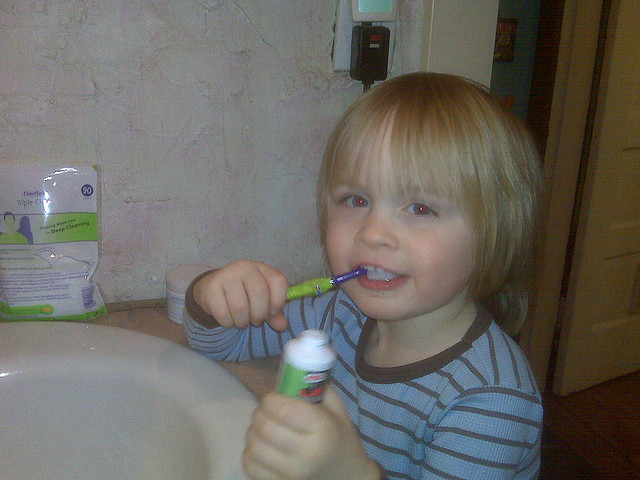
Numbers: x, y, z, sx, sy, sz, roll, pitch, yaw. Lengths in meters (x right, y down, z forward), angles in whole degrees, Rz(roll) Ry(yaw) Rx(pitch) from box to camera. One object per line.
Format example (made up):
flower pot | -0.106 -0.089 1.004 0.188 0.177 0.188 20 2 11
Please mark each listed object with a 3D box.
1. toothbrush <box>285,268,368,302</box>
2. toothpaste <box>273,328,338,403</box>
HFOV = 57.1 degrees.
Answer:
toothbrush | 0.012 0.083 1.065 0.149 0.022 0.023 -17 29 12
toothpaste | -0.018 0.176 0.875 0.092 0.143 0.050 1 11 -12
